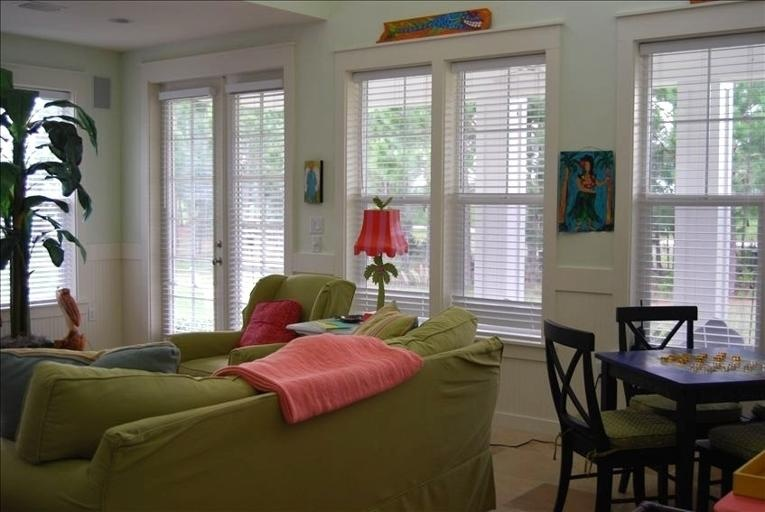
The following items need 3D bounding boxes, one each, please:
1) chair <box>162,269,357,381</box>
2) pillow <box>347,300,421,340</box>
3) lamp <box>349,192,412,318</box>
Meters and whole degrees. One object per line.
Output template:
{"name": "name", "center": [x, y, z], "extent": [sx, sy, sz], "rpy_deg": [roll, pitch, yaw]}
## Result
{"name": "chair", "center": [-0.867, 0.414, 4.126], "extent": [0.850, 1.076, 1.038], "rpy_deg": [-2, -5, 38]}
{"name": "pillow", "center": [0.009, 0.347, 3.045], "extent": [0.214, 0.063, 0.201], "rpy_deg": [-31, 9, -33]}
{"name": "lamp", "center": [-0.009, -0.029, 4.323], "extent": [0.368, 0.862, 0.865], "rpy_deg": [-1, 3, 2]}
